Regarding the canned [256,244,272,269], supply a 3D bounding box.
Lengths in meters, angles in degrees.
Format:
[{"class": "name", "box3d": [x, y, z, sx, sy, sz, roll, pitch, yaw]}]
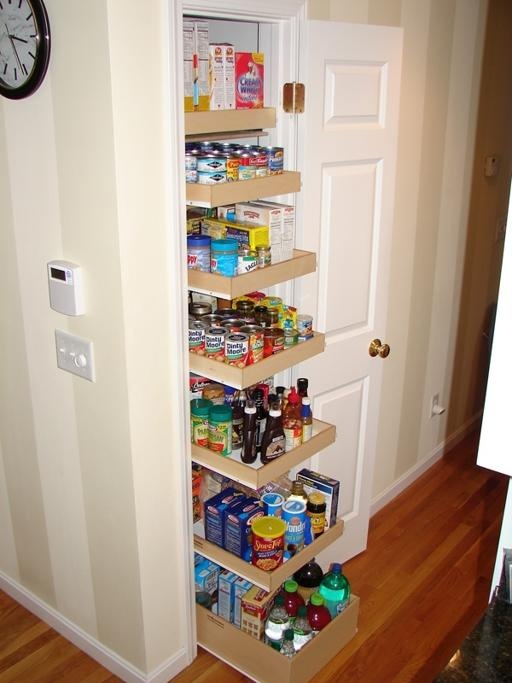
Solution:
[{"class": "canned", "box3d": [0.025, -0.273, 1.699, 0.049, 0.072, 0.066, 1, 19, 9]}]
